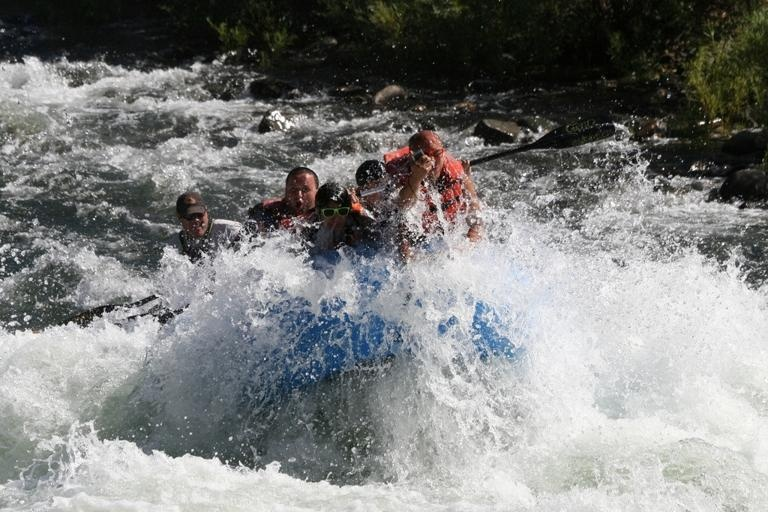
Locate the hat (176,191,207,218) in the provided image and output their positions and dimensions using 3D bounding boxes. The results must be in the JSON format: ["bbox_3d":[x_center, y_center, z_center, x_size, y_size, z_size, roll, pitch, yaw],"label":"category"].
[{"bbox_3d":[-2.526,-0.655,11.274,0.291,0.218,0.400,-13,5,-12],"label":"hat"}]

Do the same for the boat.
[{"bbox_3d":[-0.256,1.003,10.954,2.918,1.016,1.671,-4,2,-4],"label":"boat"}]

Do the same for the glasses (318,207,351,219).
[{"bbox_3d":[-0.601,-0.511,10.429,0.350,0.160,0.173,3,9,10],"label":"glasses"}]

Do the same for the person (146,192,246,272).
[{"bbox_3d":[-2.428,-0.424,11.266,1.091,0.795,0.554,-14,16,3],"label":"person"}]
